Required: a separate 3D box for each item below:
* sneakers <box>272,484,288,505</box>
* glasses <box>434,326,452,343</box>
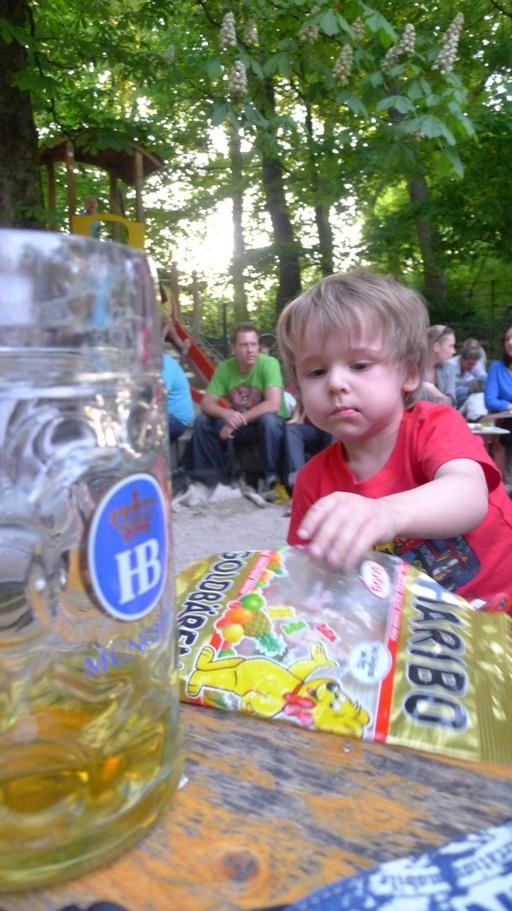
[{"bbox_3d":[0.165,0.262,4.396,0.083,0.118,0.043,5,-34,-22],"label":"sneakers"},{"bbox_3d":[1.654,-1.080,5.750,0.111,0.153,0.147,-13,42,-28],"label":"glasses"}]
